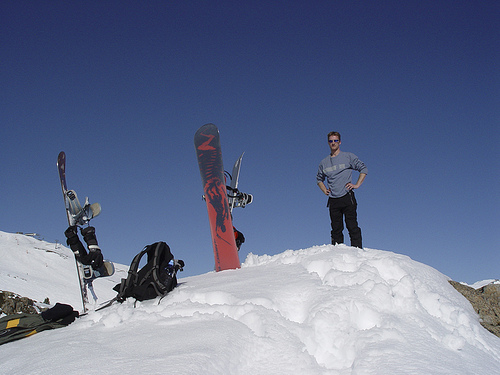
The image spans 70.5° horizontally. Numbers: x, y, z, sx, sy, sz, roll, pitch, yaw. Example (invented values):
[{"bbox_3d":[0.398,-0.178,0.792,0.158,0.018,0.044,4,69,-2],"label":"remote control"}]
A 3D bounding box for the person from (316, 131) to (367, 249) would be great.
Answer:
[{"bbox_3d":[2.126,0.224,8.290,1.071,3.242,0.616,-5,21,17],"label":"person"}]
